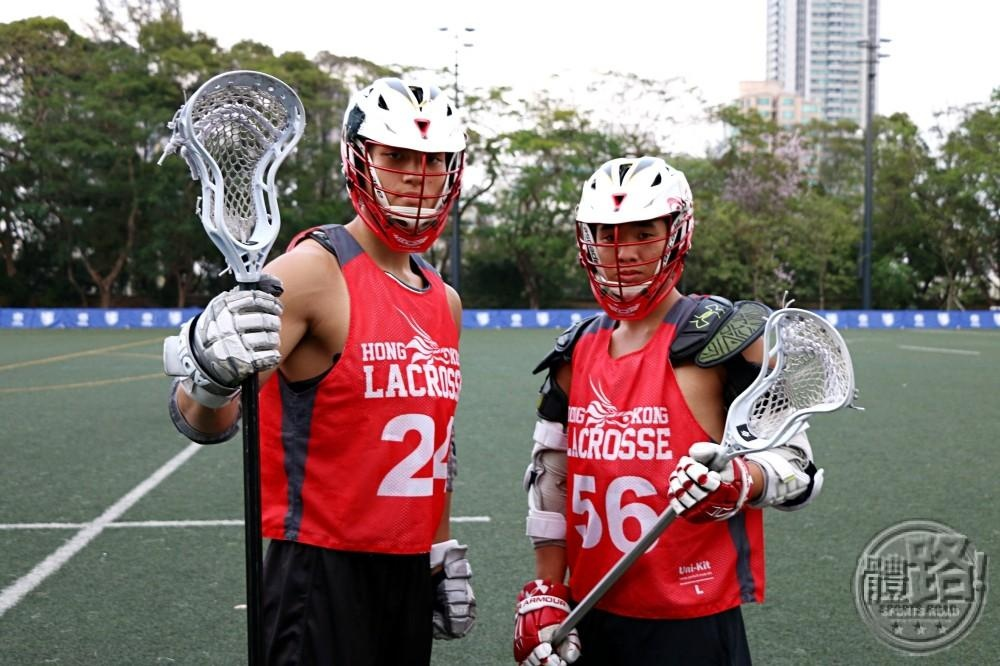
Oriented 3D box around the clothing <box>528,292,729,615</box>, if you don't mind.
[{"bbox_3d":[1.073,1.031,8.267,2.100,2.466,1.313,-5,-11,33],"label":"clothing"}]
